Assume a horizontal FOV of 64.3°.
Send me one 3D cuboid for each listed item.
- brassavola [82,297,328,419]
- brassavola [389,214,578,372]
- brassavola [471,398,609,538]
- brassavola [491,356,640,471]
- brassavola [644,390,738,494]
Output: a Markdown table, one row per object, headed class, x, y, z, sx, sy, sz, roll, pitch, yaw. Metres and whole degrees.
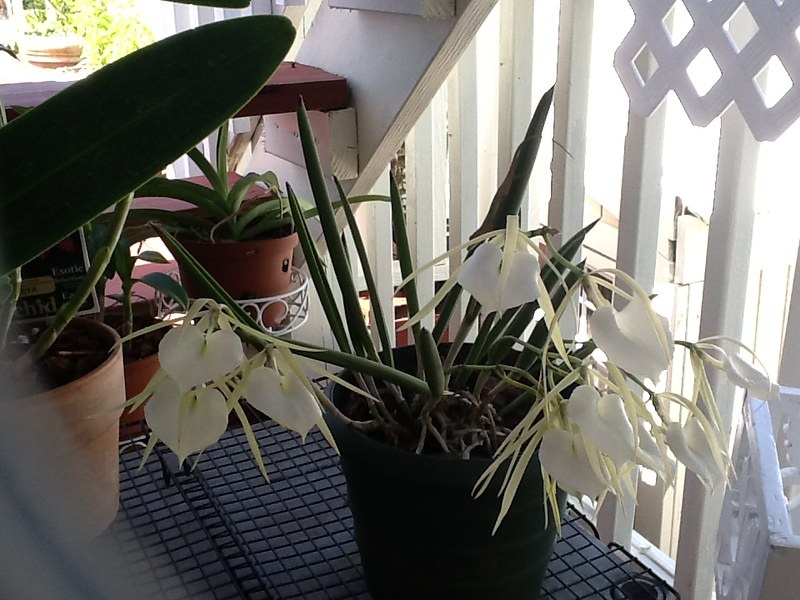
| class | x | y | z | sx | sy | sz | roll | pitch | yaw |
| --- | --- | --- | --- | --- | --- | --- | --- | --- | --- |
| brassavola | -0.309 | 0.064 | 0.860 | 0.198 | 0.175 | 0.217 | -1 | 2 | -30 |
| brassavola | 0.061 | -0.008 | 0.402 | 0.085 | 0.092 | 0.047 | 21 | 50 | -7 |
| brassavola | 0.099 | 0.088 | 0.373 | 0.044 | 0.064 | 0.043 | -27 | 10 | -38 |
| brassavola | 0.102 | 0.079 | 0.392 | 0.069 | 0.054 | 0.071 | 12 | -22 | -26 |
| brassavola | 0.171 | 0.087 | 0.392 | 0.045 | 0.025 | 0.057 | 18 | 26 | -5 |
